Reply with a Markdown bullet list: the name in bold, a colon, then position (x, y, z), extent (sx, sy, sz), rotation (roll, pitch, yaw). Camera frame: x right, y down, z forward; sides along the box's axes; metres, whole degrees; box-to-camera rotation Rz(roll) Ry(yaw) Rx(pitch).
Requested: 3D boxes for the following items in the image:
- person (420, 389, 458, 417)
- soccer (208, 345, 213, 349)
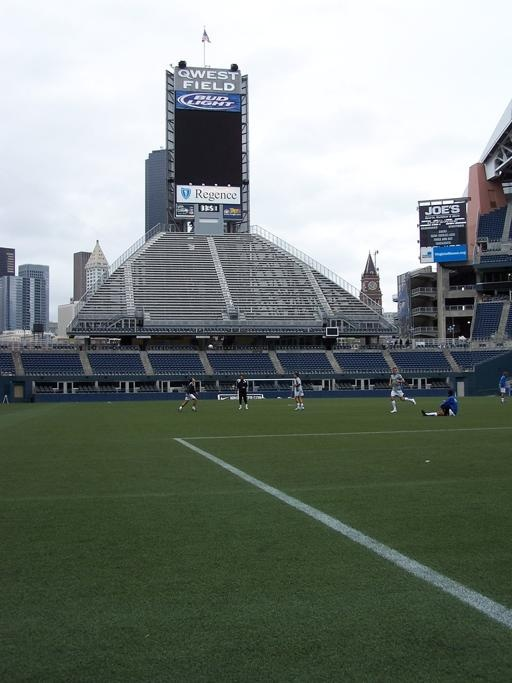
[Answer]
- **person**: position (5.024, 1.683, 24.201), extent (0.798, 0.744, 1.561), rotation (0, -1, 10)
- **soccer**: position (-3.146, 0.372, 60.457), extent (0.410, 0.360, 0.205), rotation (0, -9, -7)
